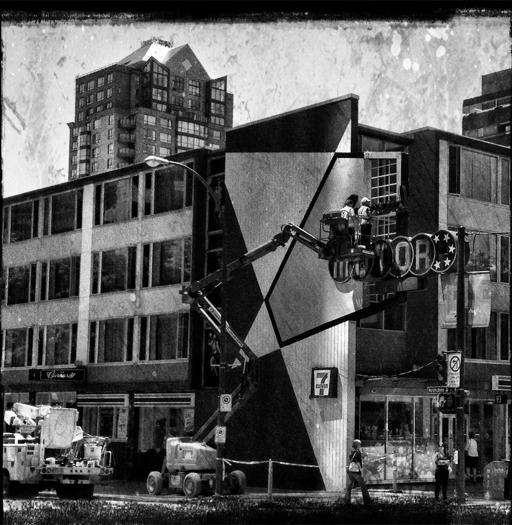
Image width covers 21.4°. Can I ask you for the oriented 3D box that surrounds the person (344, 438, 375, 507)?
[{"bbox_3d":[2.779,5.809,37.536,0.533,1.716,0.490,-4,-9,27],"label":"person"}]

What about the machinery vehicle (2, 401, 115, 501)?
[{"bbox_3d":[-5.555,5.247,37.210,2.728,2.587,1.929,3,-11,-13],"label":"machinery vehicle"}]

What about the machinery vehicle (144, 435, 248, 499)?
[{"bbox_3d":[-2.014,6.223,40.358,1.466,1.618,2.749,9,-14,-35],"label":"machinery vehicle"}]

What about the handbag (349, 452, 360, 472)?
[{"bbox_3d":[2.701,5.597,37.439,0.327,0.600,0.422,2,-12,5],"label":"handbag"}]
